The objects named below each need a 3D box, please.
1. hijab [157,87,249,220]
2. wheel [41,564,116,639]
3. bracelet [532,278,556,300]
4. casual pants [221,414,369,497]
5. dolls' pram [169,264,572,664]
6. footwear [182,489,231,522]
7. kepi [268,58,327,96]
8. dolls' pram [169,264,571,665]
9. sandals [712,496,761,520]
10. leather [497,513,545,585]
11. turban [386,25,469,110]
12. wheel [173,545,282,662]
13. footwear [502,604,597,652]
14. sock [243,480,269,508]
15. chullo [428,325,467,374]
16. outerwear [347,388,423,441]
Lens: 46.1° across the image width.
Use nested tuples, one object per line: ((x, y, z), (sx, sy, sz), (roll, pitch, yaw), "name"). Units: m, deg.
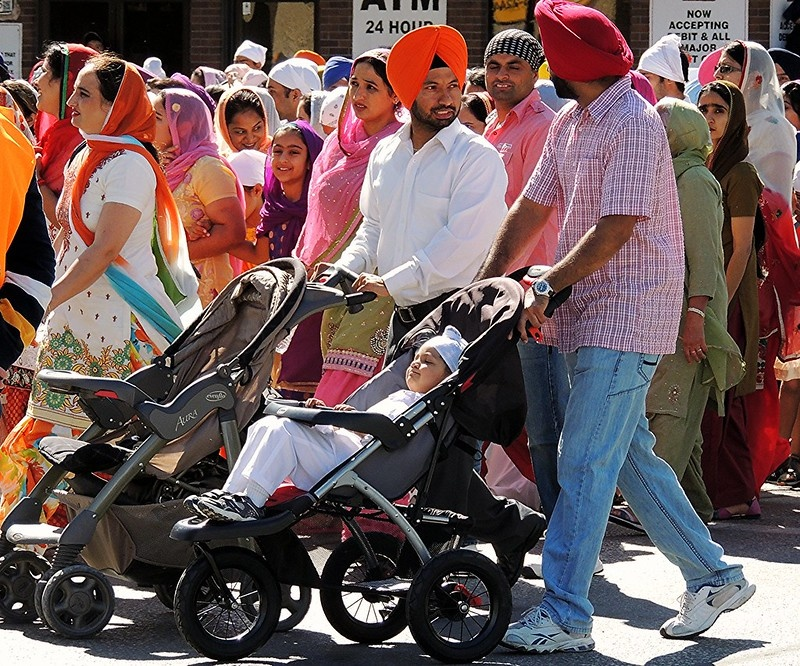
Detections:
((-1.383, -1.258, 6.578), (0.554, 1.032, 0.638), (-4, 1, -14), "hijab")
((-1.186, 0.980, 3.454), (0.223, 0.253, 0.096), (21, -8, -24), "wheel")
((0.513, -0.153, 3.337), (0.077, 0.058, 0.026), (45, -3, 9), "bracelet")
((-0.378, 0.400, 3.301), (0.431, 0.211, 0.258), (-18, 18, -36), "casual pants")
((-0.103, 0.612, 3.977), (1.569, 1.763, 1.040), (6, -9, -20), "dolls' pram")
((-0.650, 0.559, 3.149), (0.131, 0.052, 0.098), (30, -33, -4), "footwear")
((-1.051, -2.658, 9.685), (0.382, 0.422, 0.523), (17, 15, 39), "kepi")
((-0.171, 0.641, 4.012), (1.528, 1.740, 1.069), (6, -9, -20), "dolls' pram")
((2.060, 1.073, 5.791), (0.336, 0.151, 0.126), (2, -5, -14), "sandals")
((0.459, 0.907, 3.864), (0.149, 0.387, 0.125), (-3, 35, -29), "leather")
((0.110, -1.300, 4.418), (0.323, 0.419, 0.139), (-15, 33, -13), "turban")
((-0.592, 0.926, 3.248), (0.350, 0.403, 0.252), (0, 2, -12), "wheel")
((0.563, 1.104, 3.553), (0.326, 0.169, 0.147), (5, -11, -8), "footwear")
((-0.492, 0.546, 3.250), (0.084, 0.078, 0.074), (37, -22, -4), "sock")
((0.202, 0.054, 3.664), (0.124, 0.149, 0.184), (10, -27, 34), "chullo")
((-0.003, 0.310, 3.629), (0.183, 0.063, 0.179), (-35, 14, -31), "outerwear")
